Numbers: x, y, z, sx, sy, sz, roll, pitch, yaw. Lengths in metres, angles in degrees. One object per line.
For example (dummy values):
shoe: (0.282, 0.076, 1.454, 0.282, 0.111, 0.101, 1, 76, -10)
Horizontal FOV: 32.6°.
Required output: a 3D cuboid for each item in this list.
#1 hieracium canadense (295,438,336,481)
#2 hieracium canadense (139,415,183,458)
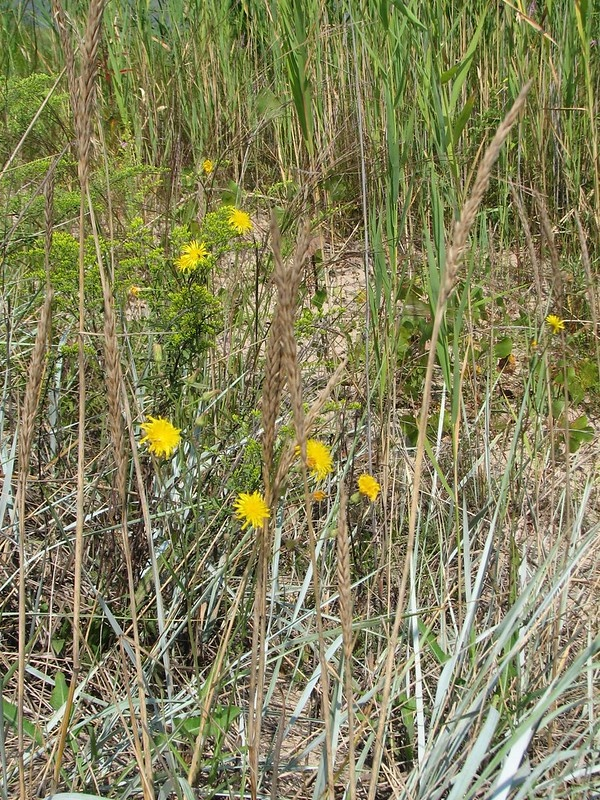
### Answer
hieracium canadense: (0.027, 0.101, 1.776, 0.027, 0.086, 0.066, -24, -20, 26)
hieracium canadense: (-0.223, 0.058, 1.616, 0.059, 0.090, 0.030, 9, -21, -26)
